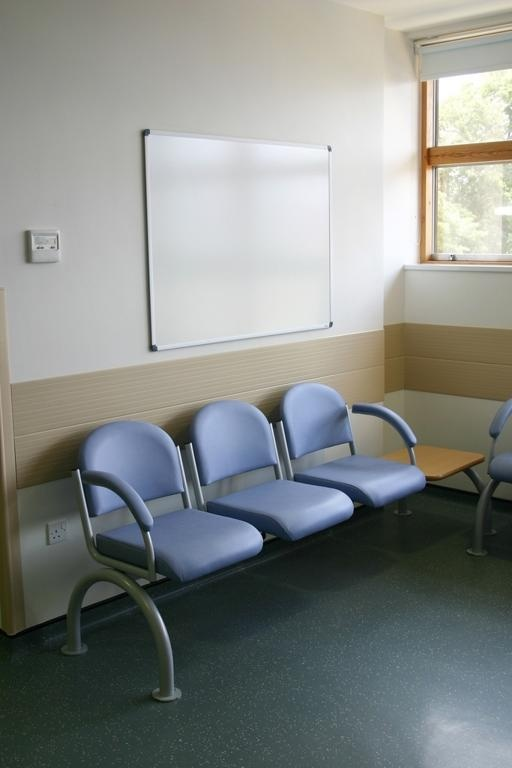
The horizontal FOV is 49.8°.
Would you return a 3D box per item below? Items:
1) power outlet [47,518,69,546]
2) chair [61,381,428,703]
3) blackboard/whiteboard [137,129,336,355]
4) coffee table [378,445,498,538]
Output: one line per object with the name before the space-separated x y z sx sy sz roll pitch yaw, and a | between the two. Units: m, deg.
power outlet | -0.768 0.571 2.132 0.013 0.120 0.116 2 3 29
chair | -0.158 0.514 2.257 0.731 1.071 1.176 -1 1 41
blackboard/whiteboard | -0.117 -0.711 2.689 0.041 0.970 1.182 7 12 42
coffee table | 1.020 0.508 3.174 0.485 0.391 0.513 4 15 32
